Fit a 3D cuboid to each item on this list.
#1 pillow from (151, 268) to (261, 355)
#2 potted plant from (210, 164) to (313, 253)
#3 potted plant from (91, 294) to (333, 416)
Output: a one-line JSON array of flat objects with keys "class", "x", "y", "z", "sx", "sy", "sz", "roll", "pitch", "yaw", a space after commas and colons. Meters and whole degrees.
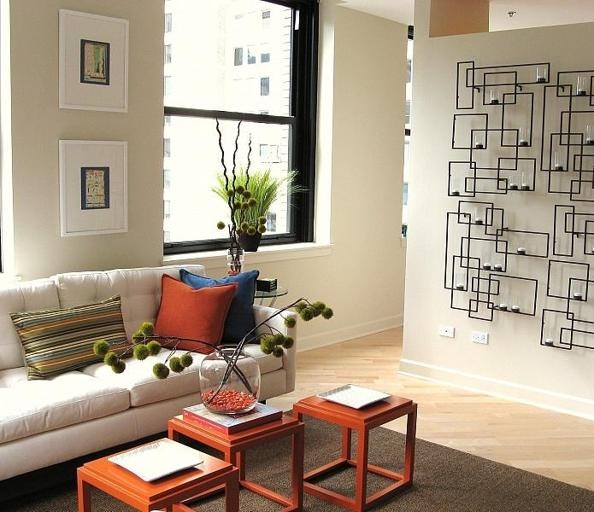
[{"class": "pillow", "x": -0.573, "y": 0.344, "z": 3.174, "sx": 0.510, "sy": 0.559, "sz": 0.251, "roll": 4, "pitch": -15, "yaw": 4}, {"class": "potted plant", "x": -0.332, "y": -0.425, "z": 4.406, "sx": 0.703, "sy": 0.641, "sz": 0.744, "roll": 1, "pitch": 1, "yaw": -10}, {"class": "potted plant", "x": -0.334, "y": 0.460, "z": 2.251, "sx": 1.030, "sy": 0.447, "sz": 0.292, "roll": -8, "pitch": -4, "yaw": -17}]
